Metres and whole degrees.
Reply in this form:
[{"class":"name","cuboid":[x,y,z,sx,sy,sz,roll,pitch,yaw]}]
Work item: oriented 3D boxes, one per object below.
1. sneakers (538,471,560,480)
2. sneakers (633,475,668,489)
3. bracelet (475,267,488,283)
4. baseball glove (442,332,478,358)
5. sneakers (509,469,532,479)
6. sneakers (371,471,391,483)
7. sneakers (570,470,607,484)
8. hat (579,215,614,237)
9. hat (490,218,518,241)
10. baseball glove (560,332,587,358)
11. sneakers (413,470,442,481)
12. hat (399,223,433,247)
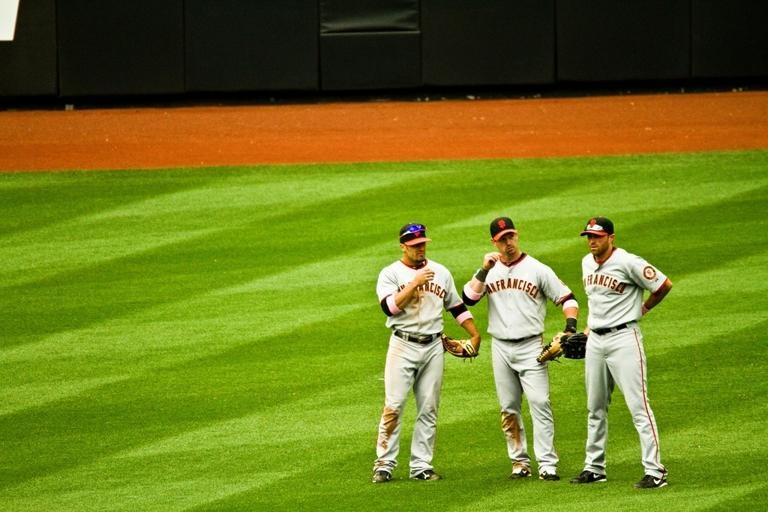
[{"class":"sneakers","cuboid":[2.432,3.208,23.072,0.132,0.085,0.227,4,-7,-44]},{"class":"sneakers","cuboid":[3.880,3.274,22.863,0.492,0.166,0.198,0,-44,-4]},{"class":"bracelet","cuboid":[1.460,0.298,23.538,0.141,0.197,0.152,7,30,-42]},{"class":"baseball glove","cuboid":[1.103,1.347,23.576,0.616,0.244,0.262,15,0,21]},{"class":"sneakers","cuboid":[2.023,3.201,23.203,0.341,0.127,0.117,3,-4,-13]},{"class":"sneakers","cuboid":[-0.050,3.248,23.274,0.137,0.125,0.301,4,-3,-39]},{"class":"sneakers","cuboid":[3.002,3.231,23.101,0.568,0.196,0.193,2,-4,-6]},{"class":"hat","cuboid":[3.164,-0.421,23.212,0.464,0.238,0.310,5,0,-10]},{"class":"hat","cuboid":[1.762,-0.382,23.342,0.359,0.343,0.215,-5,-7,4]},{"class":"baseball glove","cuboid":[2.838,1.327,23.272,0.409,0.321,0.325,-1,0,24]},{"class":"sneakers","cuboid":[0.623,3.233,23.237,0.367,0.136,0.168,-4,3,6]},{"class":"hat","cuboid":[0.392,-0.297,23.521,0.327,0.222,0.406,-3,-2,-15]}]
